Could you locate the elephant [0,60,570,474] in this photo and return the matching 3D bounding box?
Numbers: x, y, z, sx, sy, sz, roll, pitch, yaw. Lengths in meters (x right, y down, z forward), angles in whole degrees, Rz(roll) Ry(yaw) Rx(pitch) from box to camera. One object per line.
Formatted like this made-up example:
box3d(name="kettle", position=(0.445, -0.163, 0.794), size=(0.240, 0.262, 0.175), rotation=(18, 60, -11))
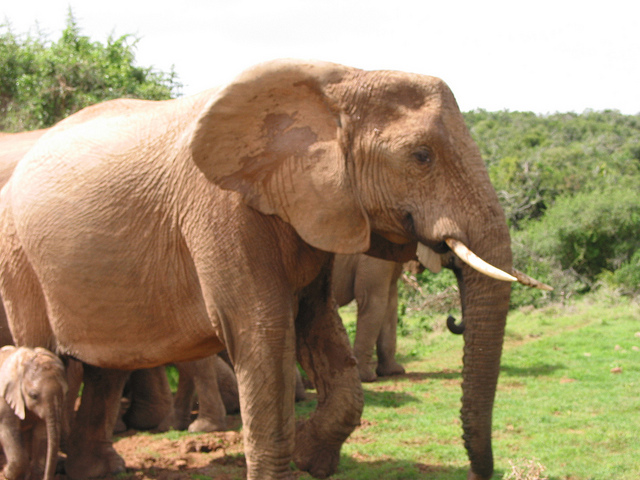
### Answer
box3d(name="elephant", position=(-0.224, 0.229, 7.205), size=(4.895, 3.496, 2.524), rotation=(-3, 0, 17))
